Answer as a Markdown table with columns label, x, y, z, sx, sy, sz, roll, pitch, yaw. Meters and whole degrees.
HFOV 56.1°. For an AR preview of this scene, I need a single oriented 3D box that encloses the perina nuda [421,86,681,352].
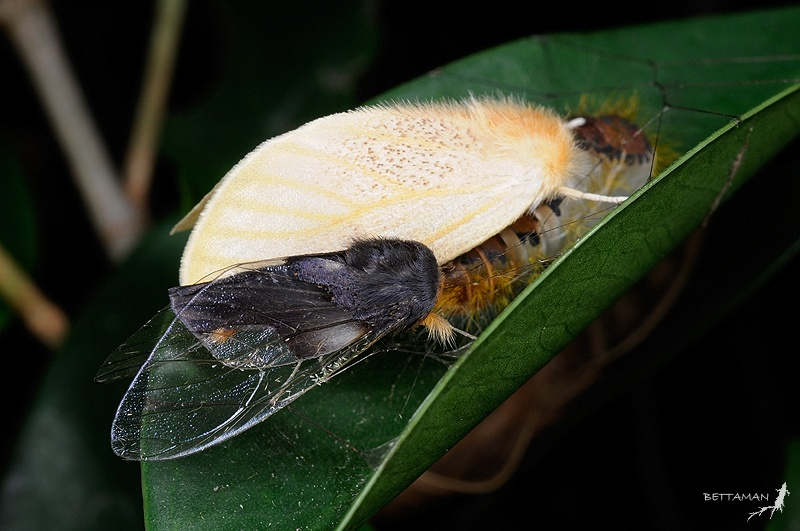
| label | x | y | z | sx | sy | sz | roll | pitch | yaw |
| --- | --- | --- | --- | --- | --- | --- | --- | --- | --- |
| perina nuda | 0.227 | -0.033 | 1.158 | 0.394 | 0.131 | 0.276 | -39 | 53 | -3 |
